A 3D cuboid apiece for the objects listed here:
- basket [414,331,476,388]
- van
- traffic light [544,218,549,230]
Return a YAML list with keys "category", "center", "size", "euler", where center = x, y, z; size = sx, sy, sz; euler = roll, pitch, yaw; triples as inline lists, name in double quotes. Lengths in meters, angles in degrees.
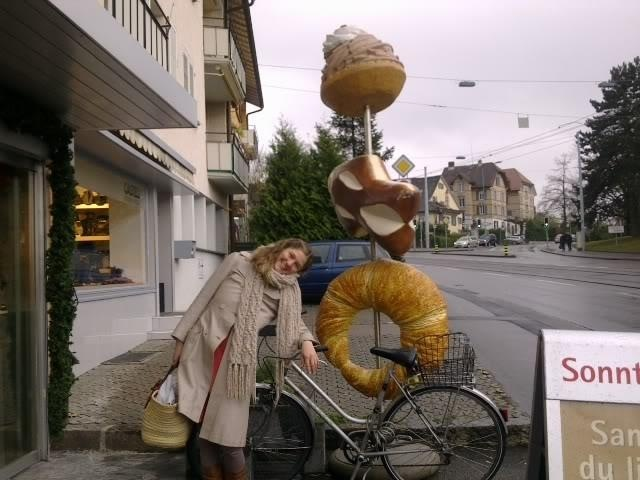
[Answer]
- category: "basket"
  center: [1.025, 0.952, 4.648]
  size: [0.422, 0.442, 0.705]
  euler: [-2, -5, 9]
- category: "van"
  center: [0.583, 0.715, 14.621]
  size: [2.095, 1.189, 1.230]
  euler: [1, -2, 1]
- category: "traffic light"
  center: [21.915, -1.713, 55.000]
  size: [0.291, 0.968, 1.590]
  euler: [-2, -5, 14]
